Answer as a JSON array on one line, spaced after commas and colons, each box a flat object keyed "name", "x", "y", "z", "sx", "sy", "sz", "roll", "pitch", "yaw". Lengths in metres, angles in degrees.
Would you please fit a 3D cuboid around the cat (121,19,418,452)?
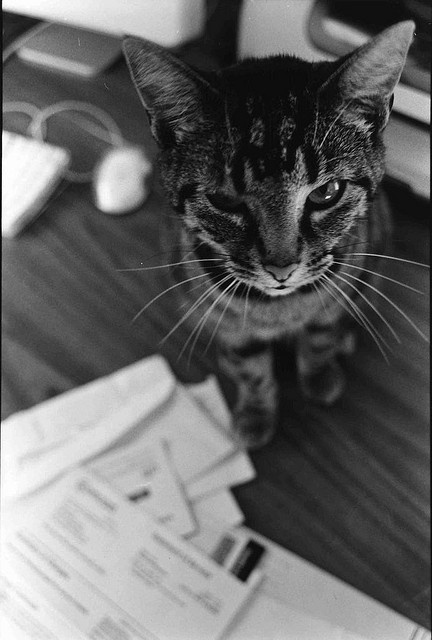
[{"name": "cat", "x": 0.179, "y": -0.298, "z": 1.905, "sx": 0.616, "sy": 1.193, "sz": 1.263, "roll": -4, "pitch": 26, "yaw": 7}]

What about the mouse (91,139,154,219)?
[{"name": "mouse", "x": -0.232, "y": -0.326, "z": 1.386, "sx": 0.135, "sy": 0.047, "sz": 0.166, "roll": 10, "pitch": 90, "yaw": 12}]

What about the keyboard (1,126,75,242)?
[{"name": "keyboard", "x": -0.450, "y": -0.334, "z": 1.458, "sx": 0.206, "sy": 0.057, "sz": 0.211, "roll": 21, "pitch": 91, "yaw": 11}]
